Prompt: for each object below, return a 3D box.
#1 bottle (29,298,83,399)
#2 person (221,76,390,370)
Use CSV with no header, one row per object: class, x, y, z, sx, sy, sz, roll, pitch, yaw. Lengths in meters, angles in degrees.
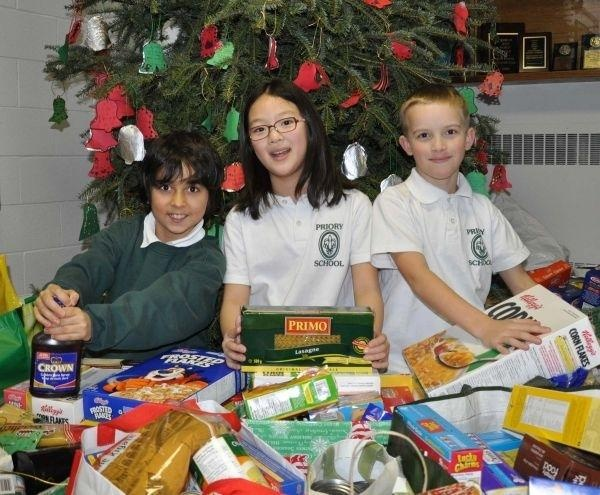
bottle,-0.554,0.264,1.073,0.113,0.124,0.074,-2,7,0
person,-0.021,-0.059,1.631,0.608,0.966,0.609,-6,8,8
